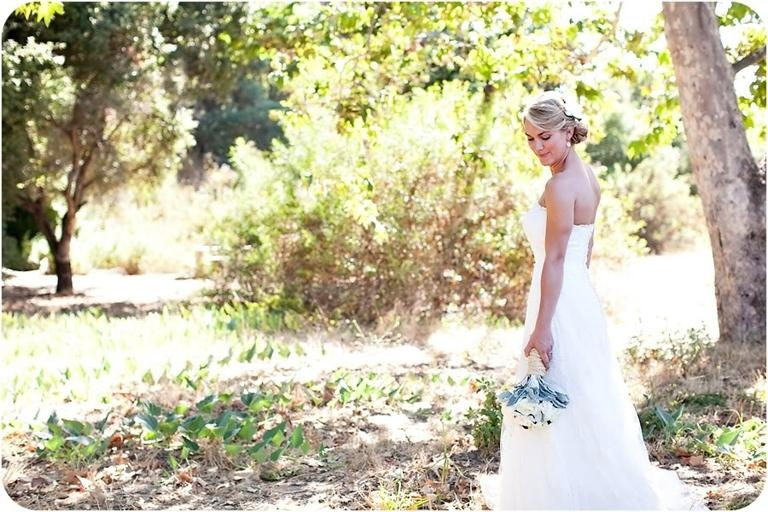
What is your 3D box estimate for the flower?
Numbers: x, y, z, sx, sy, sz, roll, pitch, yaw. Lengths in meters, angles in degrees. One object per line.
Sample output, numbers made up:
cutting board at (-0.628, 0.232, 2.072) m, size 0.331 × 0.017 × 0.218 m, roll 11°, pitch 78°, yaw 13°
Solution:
flower at (1.760, 1.682, 11.557) m, size 0.839 × 1.166 × 0.924 m, roll -5°, pitch -7°, yaw 39°
